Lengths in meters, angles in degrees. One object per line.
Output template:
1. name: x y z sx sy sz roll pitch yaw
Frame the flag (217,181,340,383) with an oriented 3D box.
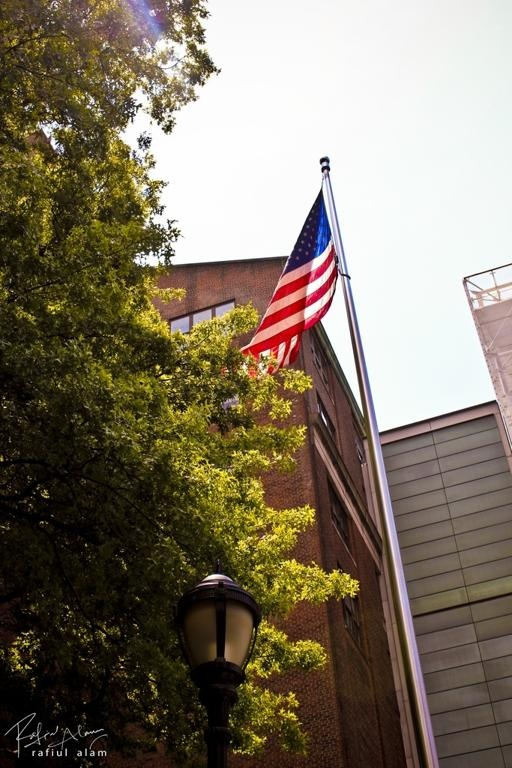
1. flag: 0.805 -1.881 15.654 0.902 2.904 2.067 26 -48 -20
